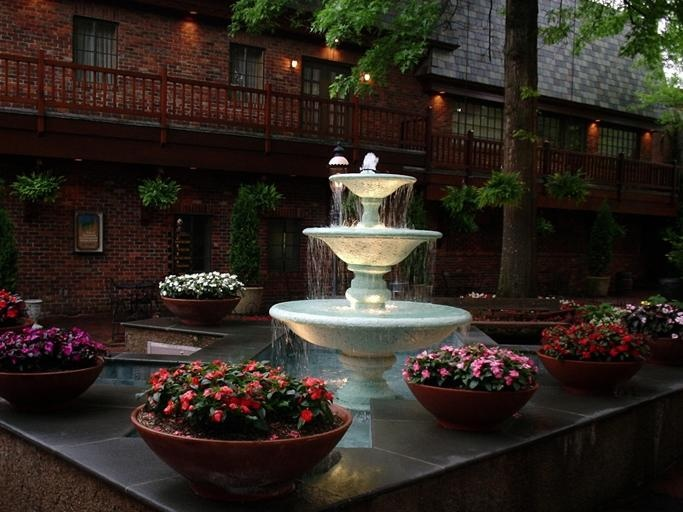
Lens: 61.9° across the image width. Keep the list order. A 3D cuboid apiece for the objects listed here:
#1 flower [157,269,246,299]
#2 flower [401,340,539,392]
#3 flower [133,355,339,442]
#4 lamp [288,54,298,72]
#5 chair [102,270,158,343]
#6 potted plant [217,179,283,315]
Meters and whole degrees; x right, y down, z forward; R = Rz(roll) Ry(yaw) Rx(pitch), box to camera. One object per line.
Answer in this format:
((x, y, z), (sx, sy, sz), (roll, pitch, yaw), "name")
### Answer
((-2.284, 0.473, 9.408), (1.270, 0.407, 0.639), (0, 4, -16), "flower")
((1.134, 0.942, 4.833), (0.678, 0.242, 0.564), (1, -5, -9), "flower")
((-0.827, 1.015, 4.071), (1.181, 0.406, 1.086), (2, -7, 1), "flower")
((-1.311, -5.392, 15.934), (0.338, 0.404, 0.126), (-3, 6, -42), "lamp")
((-4.811, 1.070, 12.898), (1.422, 1.306, 1.395), (5, 4, 35), "chair")
((-2.042, -0.270, 13.300), (1.015, 2.995, 2.567), (1, 4, 1), "potted plant")
